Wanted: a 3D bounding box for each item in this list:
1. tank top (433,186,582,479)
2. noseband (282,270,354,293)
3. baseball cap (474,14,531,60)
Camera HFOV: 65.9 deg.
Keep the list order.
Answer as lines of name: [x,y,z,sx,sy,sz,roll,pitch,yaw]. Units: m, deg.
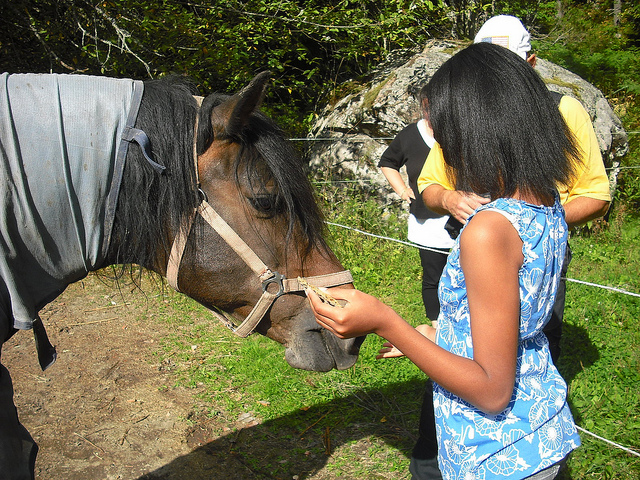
tank top: [0.743,0.405,1.908,0.551,1.138,0.520,0,23,1]
noseband: [0.010,0.192,2.299,0.409,0.113,0.041,-6,-5,-21]
baseball cap: [1.089,-1.218,2.967,0.324,0.247,0.452,9,25,20]
